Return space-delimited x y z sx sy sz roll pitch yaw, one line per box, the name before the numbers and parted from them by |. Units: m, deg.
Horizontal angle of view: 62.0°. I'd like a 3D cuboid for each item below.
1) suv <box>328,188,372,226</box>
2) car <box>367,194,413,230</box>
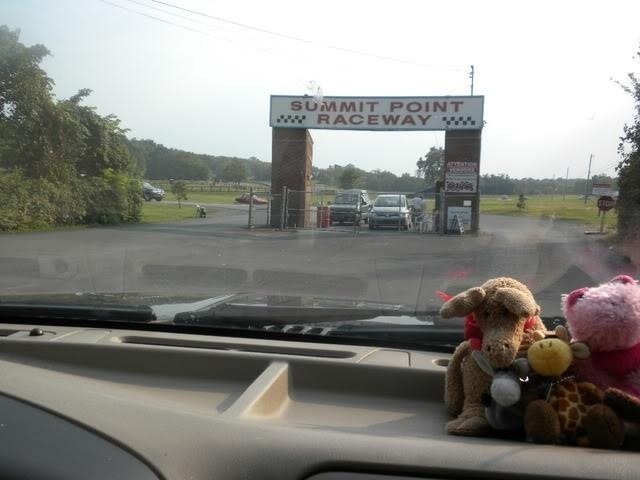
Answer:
suv | 0.749 -0.936 18.588 0.989 1.057 2.110 2 -4 1
car | 2.178 -0.942 16.739 0.936 0.967 1.960 -2 -3 12
